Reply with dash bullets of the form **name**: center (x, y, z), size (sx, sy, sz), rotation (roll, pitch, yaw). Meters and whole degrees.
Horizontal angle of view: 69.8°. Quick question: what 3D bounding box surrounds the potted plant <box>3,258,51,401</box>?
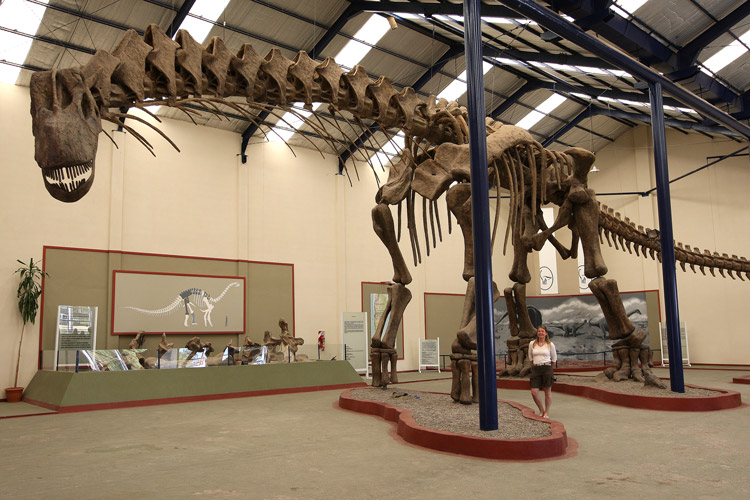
- **potted plant**: center (-8.496, 1.868, 13.089), size (0.687, 3.444, 0.610), rotation (-5, -10, 17)

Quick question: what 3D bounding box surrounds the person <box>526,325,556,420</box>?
- **person**: center (2.750, 2.014, 8.779), size (0.424, 1.497, 1.437), rotation (-5, -10, 16)
